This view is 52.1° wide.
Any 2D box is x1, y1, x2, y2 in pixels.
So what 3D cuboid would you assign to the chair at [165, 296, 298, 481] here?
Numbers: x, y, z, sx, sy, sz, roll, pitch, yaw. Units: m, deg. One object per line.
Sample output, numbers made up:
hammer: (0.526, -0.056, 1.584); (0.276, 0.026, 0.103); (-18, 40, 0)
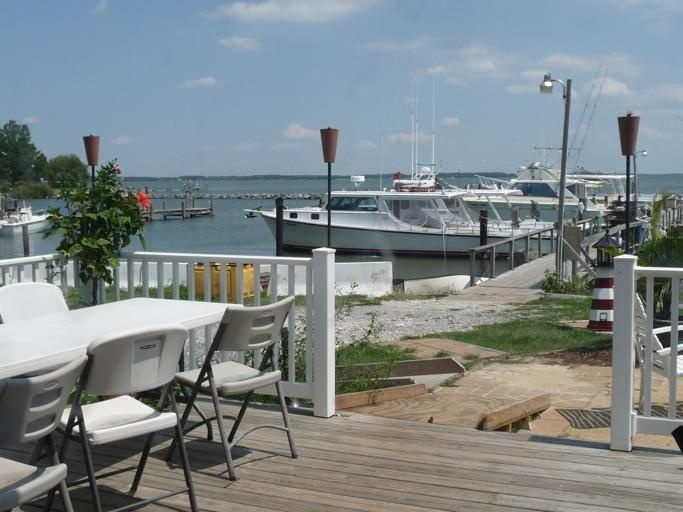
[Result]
chair: (-0.726, 0.816, 4.615); (0.773, 1.076, 0.848); (0, 2, -12)
